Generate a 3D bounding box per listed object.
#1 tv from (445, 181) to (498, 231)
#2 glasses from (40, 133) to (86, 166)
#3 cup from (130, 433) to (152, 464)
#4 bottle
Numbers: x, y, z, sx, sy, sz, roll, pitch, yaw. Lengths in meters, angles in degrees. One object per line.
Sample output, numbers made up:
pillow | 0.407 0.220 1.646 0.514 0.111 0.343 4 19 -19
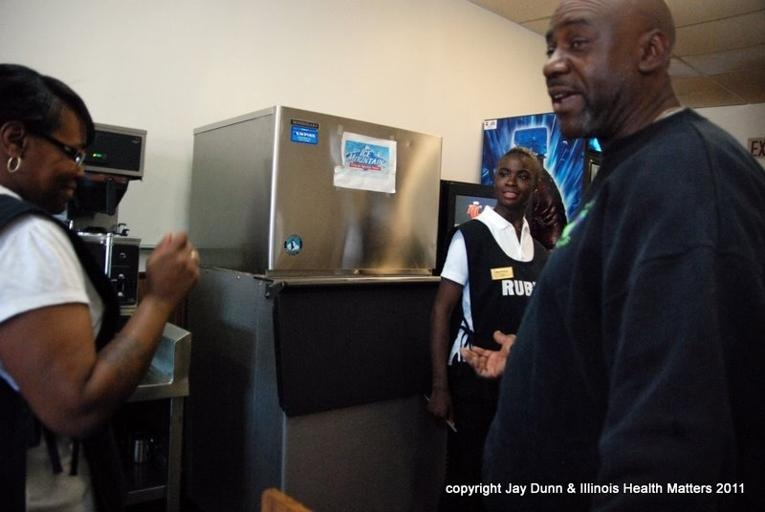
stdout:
tv | 0.574 -0.252 3.396 0.386 0.334 0.039 -3 1 -36
glasses | -0.779 -0.257 1.365 0.059 0.017 0.058 25 -8 39
cup | -0.952 0.757 2.171 0.112 0.116 0.065 -1 -8 36
bottle | 1.035 -0.441 3.656 0.349 0.938 0.283 6 37 24
